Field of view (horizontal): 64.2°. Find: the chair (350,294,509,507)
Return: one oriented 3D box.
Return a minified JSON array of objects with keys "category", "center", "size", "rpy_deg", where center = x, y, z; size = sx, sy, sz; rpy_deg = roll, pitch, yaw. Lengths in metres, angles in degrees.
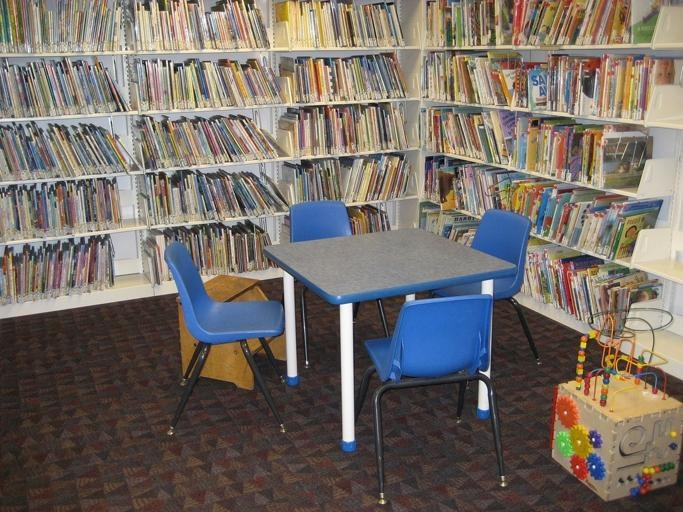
[{"category":"chair","center":[0.449,0.765,2.711],"size":[0.748,0.943,0.726],"rpy_deg":[-4,26,-9]}]

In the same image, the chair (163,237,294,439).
[{"category":"chair","center":[-0.629,0.419,3.046],"size":[0.860,0.836,0.835],"rpy_deg":[-4,17,-33]}]

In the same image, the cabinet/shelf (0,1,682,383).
[{"category":"cabinet/shelf","center":[-0.112,-0.491,3.971],"size":[2.866,1.295,2.675],"rpy_deg":[-10,23,-28]}]
